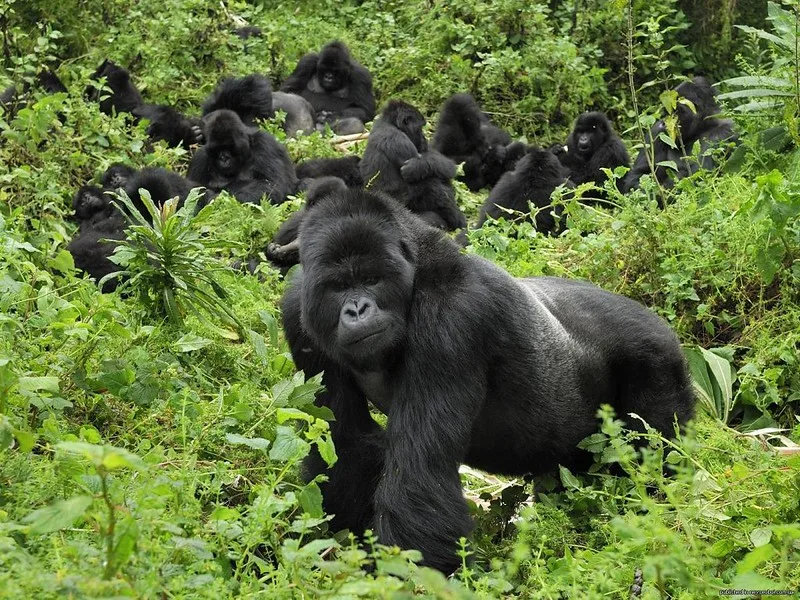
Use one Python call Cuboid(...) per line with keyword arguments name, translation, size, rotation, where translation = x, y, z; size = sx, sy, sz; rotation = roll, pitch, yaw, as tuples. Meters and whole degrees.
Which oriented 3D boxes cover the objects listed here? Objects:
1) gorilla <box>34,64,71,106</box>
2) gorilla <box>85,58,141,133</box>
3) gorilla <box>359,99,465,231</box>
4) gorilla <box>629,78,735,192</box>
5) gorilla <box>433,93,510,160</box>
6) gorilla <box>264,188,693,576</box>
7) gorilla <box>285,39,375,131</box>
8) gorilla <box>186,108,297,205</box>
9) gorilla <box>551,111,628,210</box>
Cuboid(name="gorilla", translation=(-3.807, -2.401, 9.334), size=(0.299, 0.254, 0.849), rotation=(0, 14, -22))
Cuboid(name="gorilla", translation=(-3.450, -2.618, 10.516), size=(0.546, 0.650, 0.899), rotation=(1, 13, -18))
Cuboid(name="gorilla", translation=(0.123, -1.398, 9.445), size=(1.006, 1.365, 1.293), rotation=(-5, 9, 5))
Cuboid(name="gorilla", translation=(3.167, -1.866, 9.548), size=(1.037, 1.331, 1.692), rotation=(9, 13, 17))
Cuboid(name="gorilla", translation=(0.942, -2.267, 11.194), size=(0.965, 0.782, 1.052), rotation=(-21, 26, 3))
Cuboid(name="gorilla", translation=(0.521, 0.417, 4.810), size=(2.363, 1.650, 1.259), rotation=(4, 3, -33))
Cuboid(name="gorilla", translation=(-1.115, -3.199, 13.082), size=(1.512, 1.376, 0.877), rotation=(16, 25, 12))
Cuboid(name="gorilla", translation=(-1.628, -1.600, 9.406), size=(0.957, 0.906, 1.339), rotation=(-5, 16, -38))
Cuboid(name="gorilla", translation=(2.461, -1.710, 10.679), size=(1.281, 1.220, 0.932), rotation=(3, 6, 2))
